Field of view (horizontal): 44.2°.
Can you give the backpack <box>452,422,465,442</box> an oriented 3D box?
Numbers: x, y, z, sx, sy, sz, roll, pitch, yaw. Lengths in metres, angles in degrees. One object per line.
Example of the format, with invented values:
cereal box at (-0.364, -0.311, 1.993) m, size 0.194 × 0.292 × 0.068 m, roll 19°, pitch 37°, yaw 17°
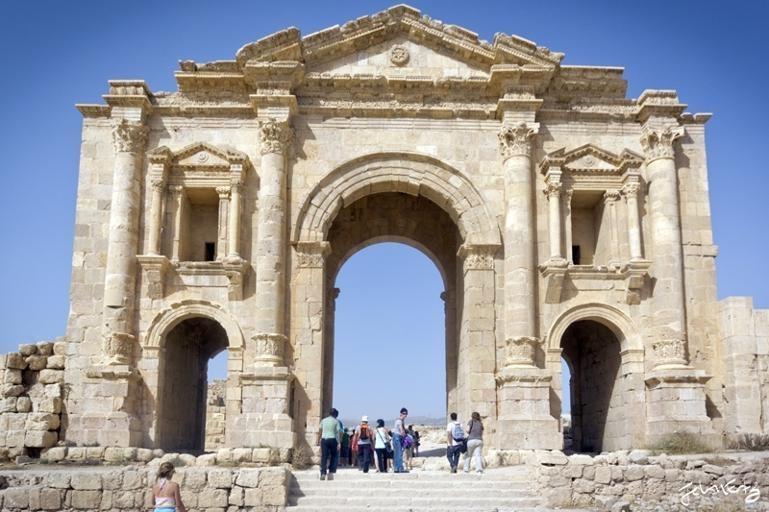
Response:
backpack at (2.383, 5.775, 30.807) m, size 0.559 × 0.731 × 0.408 m, roll 1°, pitch -14°, yaw -11°
